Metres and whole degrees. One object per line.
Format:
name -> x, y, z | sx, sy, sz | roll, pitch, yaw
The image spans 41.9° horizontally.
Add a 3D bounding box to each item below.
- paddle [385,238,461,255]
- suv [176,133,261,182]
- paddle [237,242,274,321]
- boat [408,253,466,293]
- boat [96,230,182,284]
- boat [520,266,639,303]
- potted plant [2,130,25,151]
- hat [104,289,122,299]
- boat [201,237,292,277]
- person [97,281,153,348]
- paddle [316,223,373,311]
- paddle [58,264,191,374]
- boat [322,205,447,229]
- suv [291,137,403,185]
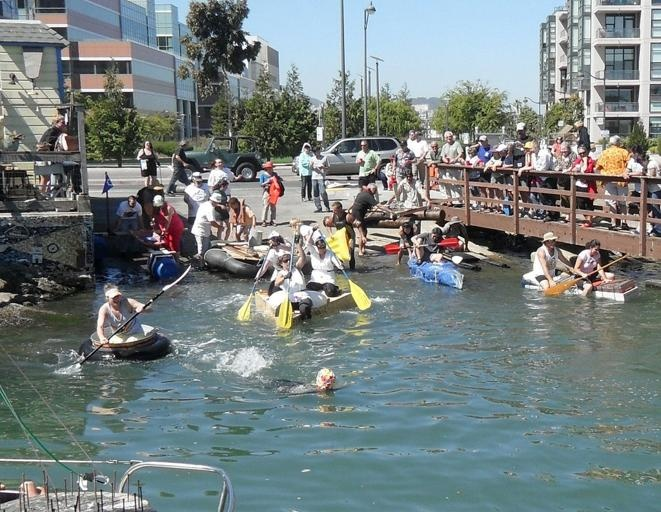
paddle -> 2.672, -0.241, 24.017 | 2.028, 0.211, 0.352 | -4, 1, 0
suv -> -4.921, -4.650, 40.786 | 4.293, 2.175, 2.214 | -1, 18, 2
paddle -> -1.801, 0.692, 20.826 | 0.107, 0.444, 2.448 | -42, 13, 42
boat -> 2.788, 0.482, 22.018 | 0.560, 0.546, 1.681 | 6, 7, -29
boat -> -5.300, 0.052, 24.250 | 2.177, 0.764, 2.961 | -6, 17, -41
boat -> 6.132, 0.651, 21.110 | 2.666, 0.493, 2.831 | 1, 6, 19
potted plant -> -9.371, -3.370, 25.522 | 0.584, 0.518, 0.668 | -3, 6, -20
hat -> -4.062, 0.722, 16.143 | 0.251, 0.218, 0.217 | -1, 6, 3
boat -> -1.900, 0.092, 23.864 | 1.898, 0.758, 2.245 | 2, -16, 18
person -> -3.887, 1.215, 16.354 | 1.078, 1.259, 1.082 | -11, 14, -12
paddle -> 0.520, 0.357, 21.354 | 0.691, 2.555, 0.452 | -38, -32, 10
paddle -> -4.354, 1.387, 18.142 | 2.905, 0.331, 0.123 | -39, 33, -10
boat -> 1.957, -1.078, 24.634 | 2.273, 0.300, 1.294 | 0, 7, 29
suv -> 0.794, -4.206, 38.360 | 4.758, 1.839, 2.128 | 0, 6, 1
